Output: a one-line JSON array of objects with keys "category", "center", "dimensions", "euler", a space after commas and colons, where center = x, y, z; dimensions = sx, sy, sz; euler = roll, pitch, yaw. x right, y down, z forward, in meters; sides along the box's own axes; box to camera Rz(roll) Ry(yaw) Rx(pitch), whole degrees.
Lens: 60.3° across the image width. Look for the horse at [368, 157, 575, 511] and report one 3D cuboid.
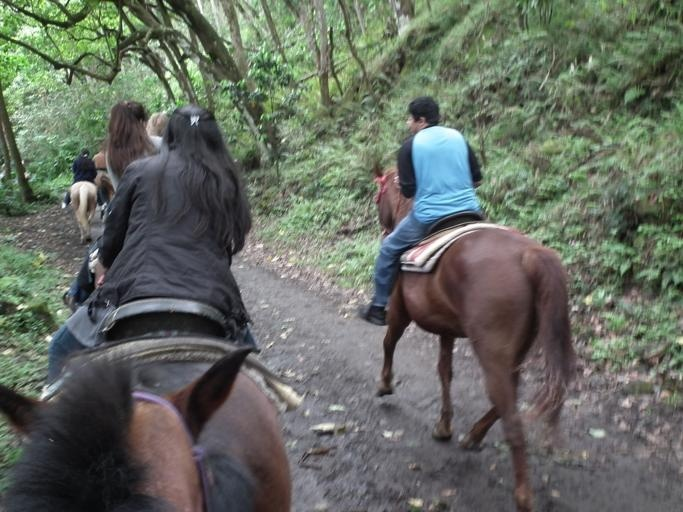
[{"category": "horse", "center": [1.223, 0.781, 5.253], "dimensions": [0.800, 1.945, 1.796], "euler": [-15, 20, -29]}]
